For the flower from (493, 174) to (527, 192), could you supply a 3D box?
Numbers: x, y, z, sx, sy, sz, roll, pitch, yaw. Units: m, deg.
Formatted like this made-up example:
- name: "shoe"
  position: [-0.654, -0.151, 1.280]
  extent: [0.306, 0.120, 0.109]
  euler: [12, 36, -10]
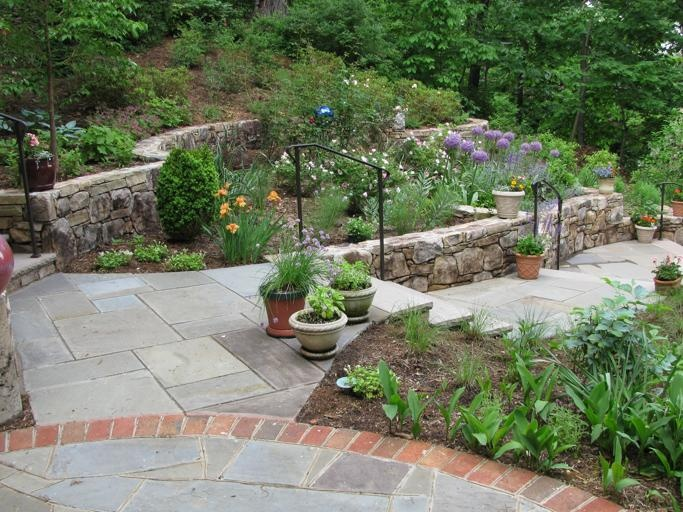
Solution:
- name: "flower"
  position: [2.566, -1.105, 8.809]
  extent: [0.477, 0.292, 0.497]
  euler: [2, 9, 25]

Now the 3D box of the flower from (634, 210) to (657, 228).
- name: "flower"
  position: [6.203, -0.791, 11.838]
  extent: [0.371, 0.261, 0.381]
  euler: [-1, 9, -16]

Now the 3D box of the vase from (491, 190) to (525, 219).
- name: "vase"
  position: [2.331, -0.755, 8.192]
  extent: [0.397, 0.341, 0.405]
  euler: [-3, 13, -19]

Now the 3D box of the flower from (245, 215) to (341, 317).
- name: "flower"
  position: [-0.459, 0.052, 4.968]
  extent: [0.620, 0.760, 0.765]
  euler: [15, 6, 11]

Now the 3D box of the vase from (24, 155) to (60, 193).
- name: "vase"
  position: [-3.153, -0.889, 6.023]
  extent: [0.314, 0.334, 0.324]
  euler: [3, 23, -11]

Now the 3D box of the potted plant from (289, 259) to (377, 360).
- name: "potted plant"
  position: [-0.052, 0.443, 4.666]
  extent: [0.450, 0.550, 0.945]
  euler: [5, 17, 24]

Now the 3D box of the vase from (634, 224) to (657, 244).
- name: "vase"
  position: [6.116, -0.439, 11.678]
  extent: [0.351, 0.306, 0.365]
  euler: [6, 8, 30]

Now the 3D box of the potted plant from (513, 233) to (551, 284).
- name: "potted plant"
  position: [2.535, 0.030, 7.850]
  extent: [0.508, 0.695, 0.527]
  euler: [2, 4, 5]

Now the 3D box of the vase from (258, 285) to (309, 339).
- name: "vase"
  position: [-0.465, 0.455, 4.623]
  extent: [0.373, 0.377, 0.401]
  euler: [0, 5, -2]

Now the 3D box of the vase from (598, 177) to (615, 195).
- name: "vase"
  position: [5.163, -1.355, 11.248]
  extent: [0.251, 0.357, 0.359]
  euler: [3, 16, 19]
